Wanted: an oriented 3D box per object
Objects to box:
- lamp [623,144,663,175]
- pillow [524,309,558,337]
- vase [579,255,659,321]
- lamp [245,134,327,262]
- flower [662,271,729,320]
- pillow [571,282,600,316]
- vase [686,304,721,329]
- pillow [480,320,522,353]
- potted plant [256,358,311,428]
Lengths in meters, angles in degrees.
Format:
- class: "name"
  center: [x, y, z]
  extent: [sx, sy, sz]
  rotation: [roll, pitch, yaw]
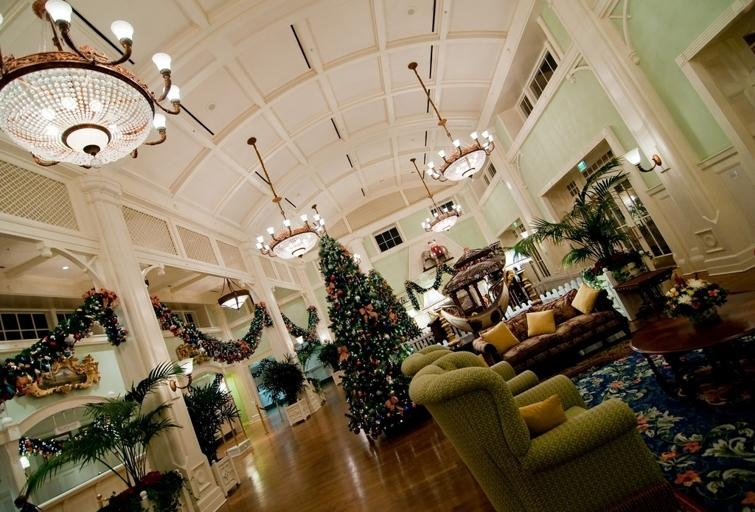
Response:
- class: "lamp"
  center: [4.573, -1.635, 7.919]
  extent: [0.530, 0.546, 0.308]
  rotation: [-15, -8, 1]
- class: "pillow"
  center: [2.786, 1.162, 7.825]
  extent: [0.382, 0.372, 0.143]
  rotation: [-20, -44, 26]
- class: "vase"
  center: [4.047, 0.581, 7.720]
  extent: [0.660, 0.976, 0.629]
  rotation: [-19, -11, -31]
- class: "lamp"
  center: [-2.339, -1.538, 11.467]
  extent: [1.531, 3.246, 1.520]
  rotation: [-28, -15, -20]
- class: "flower"
  center: [3.687, 0.524, 5.431]
  extent: [0.539, 0.557, 0.526]
  rotation: [-26, -55, 10]
- class: "pillow"
  center: [3.478, 0.718, 7.709]
  extent: [0.145, 0.444, 0.474]
  rotation: [21, 14, -11]
- class: "vase"
  center: [3.678, 0.662, 5.303]
  extent: [0.314, 0.230, 0.318]
  rotation: [-11, -16, -2]
- class: "pillow"
  center: [2.122, 1.415, 7.897]
  extent: [0.490, 0.499, 0.181]
  rotation: [-35, -23, -9]
- class: "potted plant"
  center: [-2.405, 3.504, 12.087]
  extent: [1.065, 1.864, 1.064]
  rotation: [-18, -12, -15]
